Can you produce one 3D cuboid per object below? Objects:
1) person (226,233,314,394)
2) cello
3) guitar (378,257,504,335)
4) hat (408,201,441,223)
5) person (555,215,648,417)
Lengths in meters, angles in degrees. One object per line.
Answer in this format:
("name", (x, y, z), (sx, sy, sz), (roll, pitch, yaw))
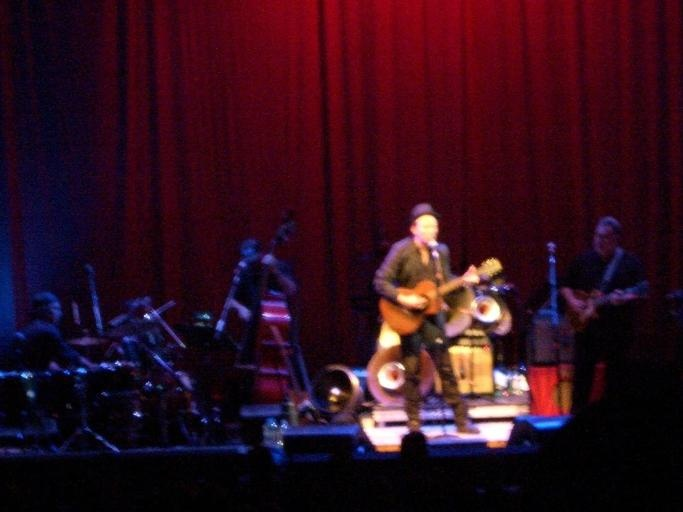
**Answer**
("person", (-0.625, 0.541, 5.832), (0.298, 1.560, 0.607), (11, -34, -30))
("cello", (-0.536, 0.464, 5.714), (0.432, 1.481, 0.524), (-1, 0, -5))
("guitar", (0.795, 0.311, 5.317), (1.087, 0.472, 0.155), (-30, -11, -1))
("hat", (0.686, -0.368, 5.367), (0.233, 0.132, 0.170), (-5, -7, -19))
("person", (2.250, 0.643, 5.710), (0.481, 1.924, 0.829), (-8, 17, -29))
